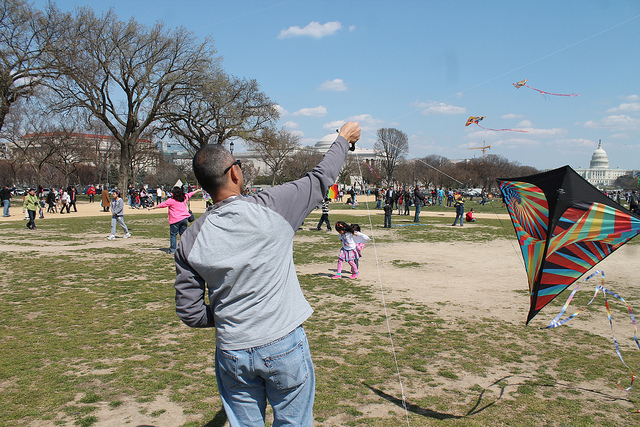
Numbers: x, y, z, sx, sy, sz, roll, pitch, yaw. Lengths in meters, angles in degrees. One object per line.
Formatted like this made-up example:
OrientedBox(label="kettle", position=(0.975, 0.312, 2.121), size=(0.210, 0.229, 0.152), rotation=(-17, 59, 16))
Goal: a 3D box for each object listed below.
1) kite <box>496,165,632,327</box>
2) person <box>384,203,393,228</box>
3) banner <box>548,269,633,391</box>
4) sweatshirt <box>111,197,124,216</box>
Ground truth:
OrientedBox(label="kite", position=(3.856, 0.370, 7.541), size=(1.479, 2.262, 1.298), rotation=(0, 13, -5))
OrientedBox(label="person", position=(3.440, 0.109, 23.789), size=(0.364, 1.198, 0.965), rotation=(2, 13, 7))
OrientedBox(label="banner", position=(4.777, 2.115, 8.362), size=(1.110, 2.085, 1.165), rotation=(-13, -30, 27))
OrientedBox(label="sweatshirt", position=(-7.222, -0.228, 16.936), size=(0.353, 0.727, 0.661), rotation=(-6, 14, -27))
